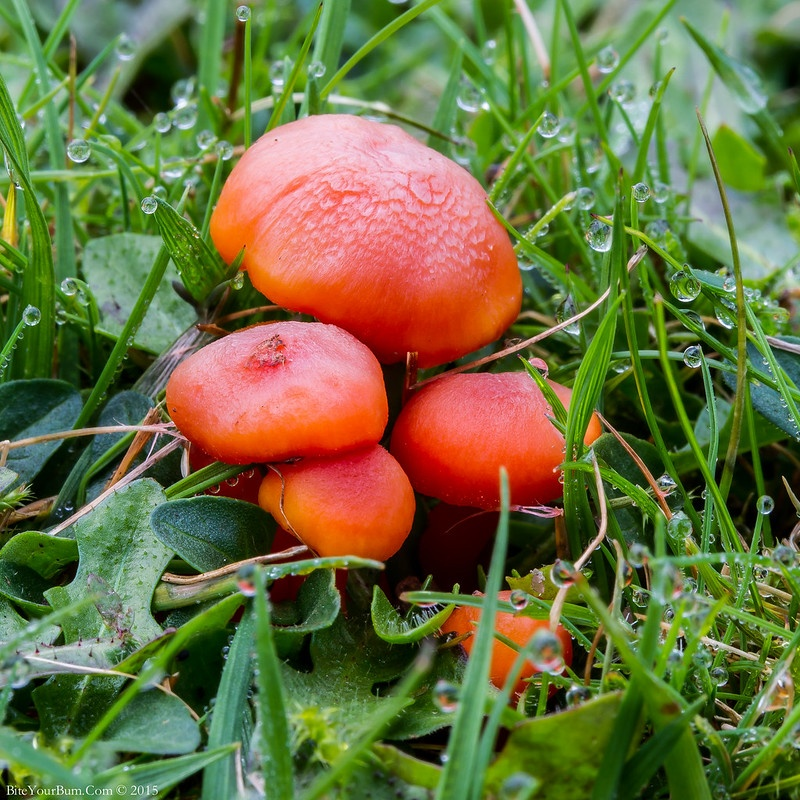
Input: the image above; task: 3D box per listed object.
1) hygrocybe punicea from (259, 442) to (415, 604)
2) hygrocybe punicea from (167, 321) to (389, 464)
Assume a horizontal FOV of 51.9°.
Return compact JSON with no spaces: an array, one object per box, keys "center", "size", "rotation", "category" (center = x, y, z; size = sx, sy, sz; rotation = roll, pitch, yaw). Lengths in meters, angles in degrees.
[{"center":[-0.061,0.115,0.898],"size":[0.149,0.051,0.124],"rotation":[-11,78,-5],"category":"hygrocybe punicea"},{"center":[-0.142,-0.013,0.904],"size":[0.246,0.088,0.162],"rotation":[-6,77,-3],"category":"hygrocybe punicea"}]
